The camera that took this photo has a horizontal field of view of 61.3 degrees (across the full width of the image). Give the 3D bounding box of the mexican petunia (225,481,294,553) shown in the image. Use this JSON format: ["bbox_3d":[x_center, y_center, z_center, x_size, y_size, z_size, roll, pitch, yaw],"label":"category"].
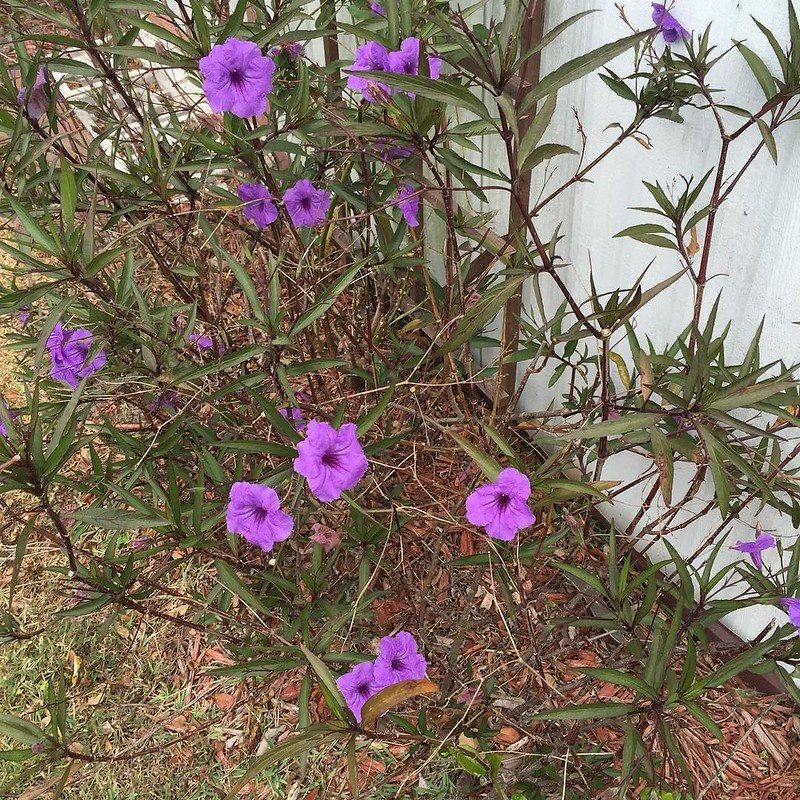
[{"bbox_3d":[-0.242,0.217,1.354,0.142,0.139,0.062,-20,14,30],"label":"mexican petunia"}]

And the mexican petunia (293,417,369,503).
[{"bbox_3d":[-0.129,0.107,1.252,0.125,0.147,0.125,-13,51,-7],"label":"mexican petunia"}]

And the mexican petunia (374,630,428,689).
[{"bbox_3d":[-0.007,0.537,1.381,0.125,0.047,0.125,20,21,-18],"label":"mexican petunia"}]

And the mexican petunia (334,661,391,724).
[{"bbox_3d":[-0.069,0.563,1.338,0.103,0.036,0.112,2,24,29],"label":"mexican petunia"}]

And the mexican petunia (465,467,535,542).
[{"bbox_3d":[0.179,0.207,1.235,0.108,0.184,0.108,-5,52,0],"label":"mexican petunia"}]
